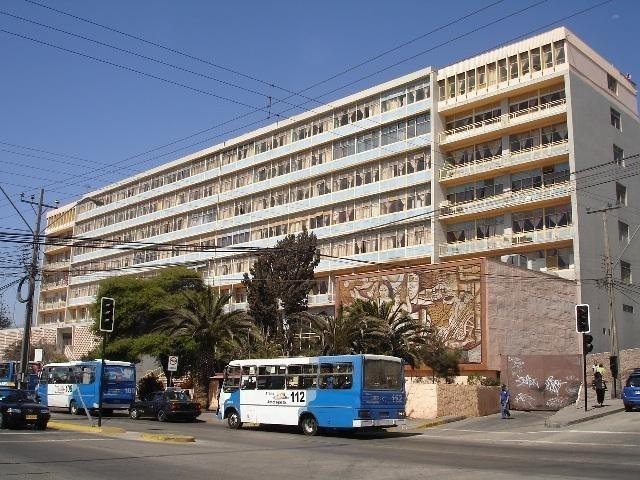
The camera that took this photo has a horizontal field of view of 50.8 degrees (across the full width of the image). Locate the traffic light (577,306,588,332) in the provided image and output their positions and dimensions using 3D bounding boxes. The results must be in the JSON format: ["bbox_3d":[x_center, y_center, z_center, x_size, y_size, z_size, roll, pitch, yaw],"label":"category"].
[{"bbox_3d":[13.316,3.983,34.035,0.745,1.269,0.323,0,-8,19],"label":"traffic light"}]

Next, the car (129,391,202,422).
[{"bbox_3d":[-8.567,9.150,37.066,3.284,1.594,1.436,-7,-16,29],"label":"car"}]

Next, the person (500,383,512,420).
[{"bbox_3d":[10.083,8.757,36.586,0.498,1.727,1.127,-3,-14,14],"label":"person"}]

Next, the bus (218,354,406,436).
[{"bbox_3d":[-0.811,7.663,32.935,9.886,3.334,3.169,-11,-19,42],"label":"bus"}]

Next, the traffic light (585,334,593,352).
[{"bbox_3d":[13.710,5.283,34.354,0.362,0.940,0.978,-6,-15,24],"label":"traffic light"}]
